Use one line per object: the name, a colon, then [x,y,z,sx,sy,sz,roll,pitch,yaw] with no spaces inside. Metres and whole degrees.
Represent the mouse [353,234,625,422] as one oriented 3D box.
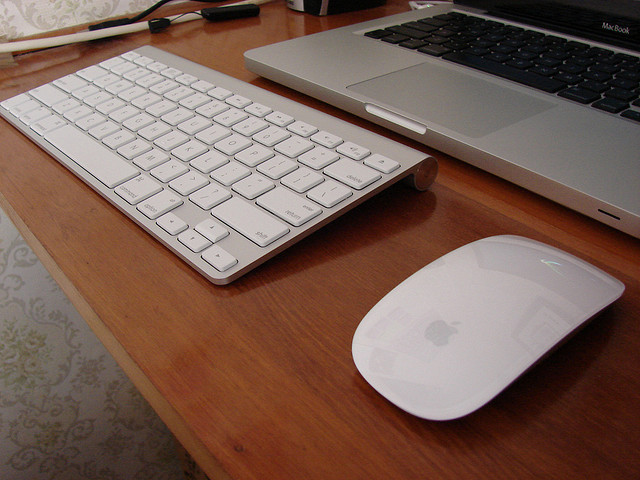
mouse: [0.122,0.060,0.329,0.177,0.032,0.092,-26,44,-19]
